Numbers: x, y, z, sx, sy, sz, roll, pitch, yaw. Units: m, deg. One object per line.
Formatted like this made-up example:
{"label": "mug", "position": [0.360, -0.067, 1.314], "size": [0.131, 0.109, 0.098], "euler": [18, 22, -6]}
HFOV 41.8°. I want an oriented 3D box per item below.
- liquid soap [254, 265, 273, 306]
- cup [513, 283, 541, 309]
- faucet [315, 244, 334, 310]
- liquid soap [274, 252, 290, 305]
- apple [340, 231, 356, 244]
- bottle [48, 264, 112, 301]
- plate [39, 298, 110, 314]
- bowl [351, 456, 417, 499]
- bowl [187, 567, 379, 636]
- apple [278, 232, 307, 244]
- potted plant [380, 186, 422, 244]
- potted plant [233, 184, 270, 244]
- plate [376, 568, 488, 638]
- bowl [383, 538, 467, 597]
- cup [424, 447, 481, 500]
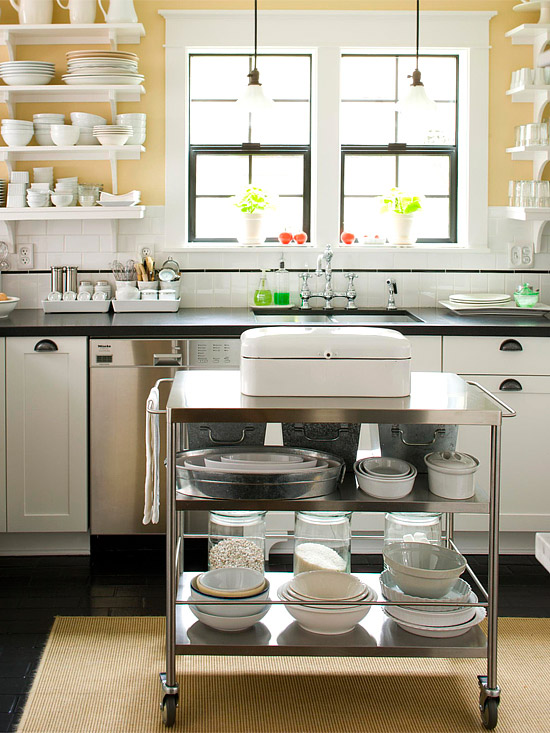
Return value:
{"label": "liquid soap", "position": [-0.065, -0.424, 3.834], "size": [0.099, 0.199, 0.164], "euler": [0, 4, -2]}
{"label": "cup", "position": [1.262, -0.359, 3.672], "size": [0.145, 0.147, 0.144], "euler": [-2, 12, 0]}
{"label": "faucet", "position": [0.266, -0.473, 3.857], "size": [0.094, 0.315, 0.180], "euler": [1, 4, 3]}
{"label": "liquid soap", "position": [0.033, -0.447, 3.815], "size": [0.073, 0.248, 0.101], "euler": [0, 4, -1]}
{"label": "apple", "position": [0.397, -0.704, 3.907], "size": [0.072, 0.062, 0.068], "euler": [-3, 1, -3]}
{"label": "bottle", "position": [-1.012, -0.439, 3.736], "size": [0.315, 0.183, 0.348], "euler": [-1, 5, -14]}
{"label": "plate", "position": [-0.988, -0.301, 3.594], "size": [0.328, 0.072, 0.193], "euler": [-1, 5, -12]}
{"label": "bowl", "position": [0.313, 0.302, 1.980], "size": [0.123, 0.044, 0.105], "euler": [-14, 23, -36]}
{"label": "bowl", "position": [0.017, 0.654, 2.030], "size": [0.366, 0.080, 0.234], "euler": [0, 1, 1]}
{"label": "apple", "position": [0.099, -0.704, 3.919], "size": [0.120, 0.044, 0.067], "euler": [2, 5, 9]}
{"label": "potted plant", "position": [0.675, -0.824, 3.945], "size": [0.272, 0.270, 0.285], "euler": [1, 4, -5]}
{"label": "potted plant", "position": [-0.119, -0.811, 3.846], "size": [0.184, 0.316, 0.085], "euler": [0, 4, -2]}
{"label": "plate", "position": [0.440, 0.685, 2.035], "size": [0.303, 0.155, 0.259], "euler": [1, 5, 13]}
{"label": "bowl", "position": [0.418, 0.602, 2.064], "size": [0.238, 0.115, 0.224], "euler": [9, -26, 5]}
{"label": "cup", "position": [0.484, 0.296, 1.983], "size": [0.145, 0.101, 0.184], "euler": [2, 5, 24]}
